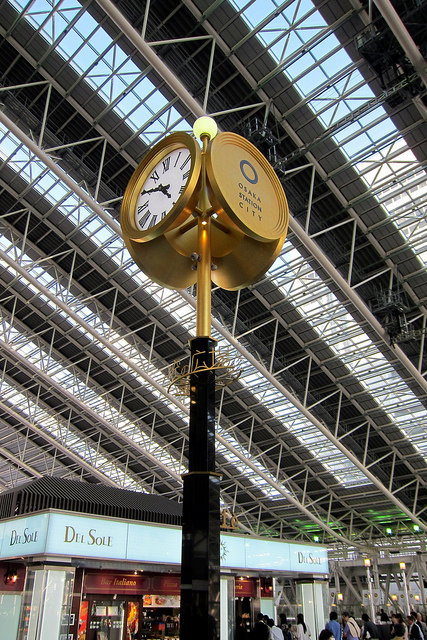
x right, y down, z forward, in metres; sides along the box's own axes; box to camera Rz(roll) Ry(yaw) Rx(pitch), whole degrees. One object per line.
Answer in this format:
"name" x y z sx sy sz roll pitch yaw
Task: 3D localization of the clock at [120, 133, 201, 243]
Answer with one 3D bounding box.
"clock" -0.685 -1.722 6.823 0.289 1.630 1.537 24 -36 -36
